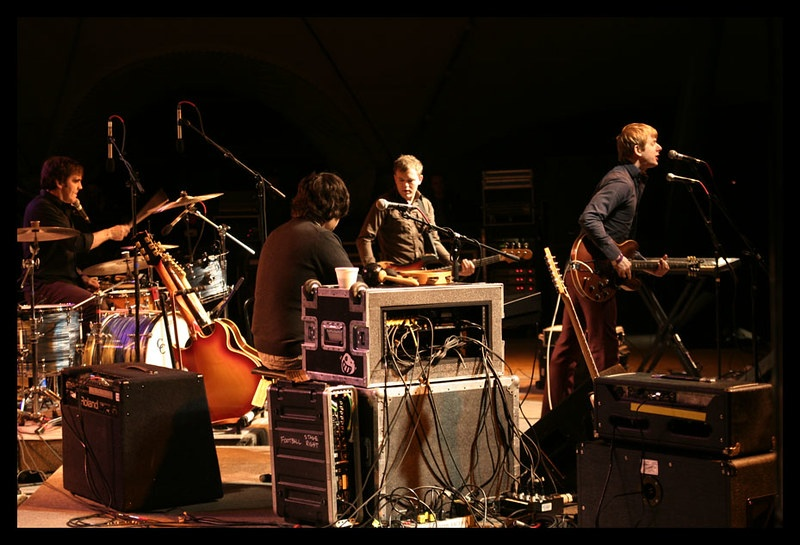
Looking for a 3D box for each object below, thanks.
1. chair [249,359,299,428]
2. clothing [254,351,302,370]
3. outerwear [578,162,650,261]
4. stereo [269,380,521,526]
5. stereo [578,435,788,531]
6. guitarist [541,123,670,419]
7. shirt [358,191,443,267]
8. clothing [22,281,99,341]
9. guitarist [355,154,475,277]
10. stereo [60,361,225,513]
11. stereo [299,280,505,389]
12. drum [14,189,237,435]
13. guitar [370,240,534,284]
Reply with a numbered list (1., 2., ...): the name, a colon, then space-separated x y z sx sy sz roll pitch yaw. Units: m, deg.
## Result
1. chair: -0.858 0.766 5.217 0.268 0.212 0.278 15 -4 3
2. clothing: -0.764 0.574 5.064 0.194 0.074 0.151 9 -6 10
3. outerwear: 1.584 -0.469 5.874 0.392 0.803 0.115 26 -13 -33
4. stereo: -0.070 0.982 4.770 1.225 0.712 0.669 1 -7 -37
5. stereo: 1.517 1.249 4.325 0.539 0.645 0.935 2 -4 -42
6. guitarist: 1.568 0.070 6.162 0.914 2.389 0.669 2 12 7
7. shirt: 0.056 -0.387 7.023 0.918 0.752 0.459 -3 8 -26
8. clothing: -3.034 0.306 7.140 0.562 0.586 0.572 2 3 43
9. guitarist: 0.077 -0.405 6.978 0.924 1.173 0.645 -7 22 -22
10. stereo: -1.701 1.019 5.096 0.826 0.817 0.673 1 1 42
11. stereo: 0.032 0.362 4.631 1.217 0.626 0.414 3 -9 -9
12. drum: -1.750 0.401 6.447 0.804 1.702 0.830 -20 -2 -1
13. guitar: 0.439 -0.106 6.745 1.950 0.268 0.806 -5 3 28
